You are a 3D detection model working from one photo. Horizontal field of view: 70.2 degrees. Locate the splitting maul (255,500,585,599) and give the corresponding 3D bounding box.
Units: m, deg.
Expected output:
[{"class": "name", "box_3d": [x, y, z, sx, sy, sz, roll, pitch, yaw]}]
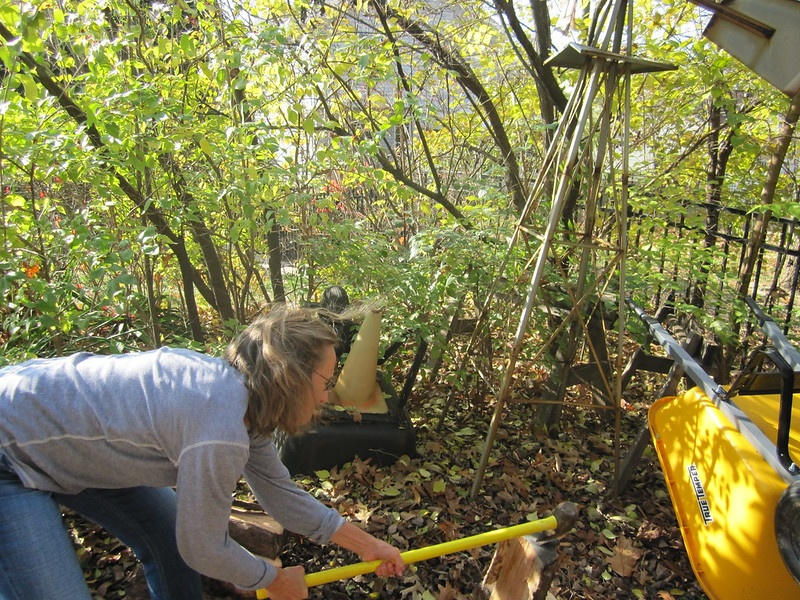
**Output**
[{"class": "splitting maul", "box_3d": [0.081, 1.332, 2.996, 2.022, 0.267, 0.202, -12, 43, -3]}]
